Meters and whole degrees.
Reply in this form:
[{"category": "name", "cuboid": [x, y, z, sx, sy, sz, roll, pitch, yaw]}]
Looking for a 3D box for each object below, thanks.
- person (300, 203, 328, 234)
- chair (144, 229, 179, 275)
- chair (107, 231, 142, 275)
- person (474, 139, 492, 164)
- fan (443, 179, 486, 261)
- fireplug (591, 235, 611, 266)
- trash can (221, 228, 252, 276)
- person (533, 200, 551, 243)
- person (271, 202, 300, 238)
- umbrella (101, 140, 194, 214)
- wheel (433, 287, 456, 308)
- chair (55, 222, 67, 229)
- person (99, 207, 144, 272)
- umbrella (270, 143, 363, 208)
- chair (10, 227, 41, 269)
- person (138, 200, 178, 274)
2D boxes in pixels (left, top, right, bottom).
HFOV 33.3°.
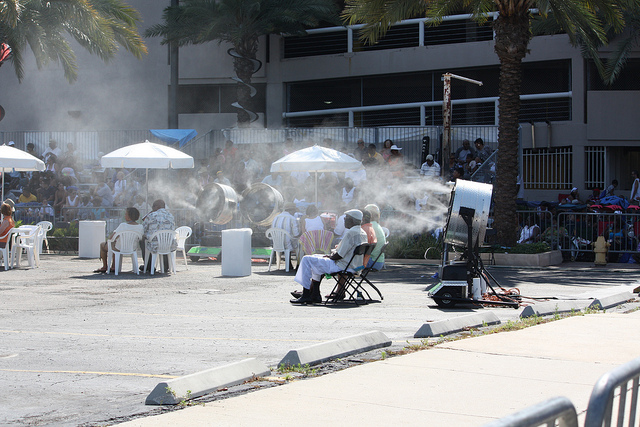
[{"category": "person", "cuboid": [-0.193, 0.157, 30.687, 0.592, 1.115, 0.633, -3, 40, 3]}, {"category": "chair", "cuboid": [-4.409, 0.977, 29.848, 1.029, 1.587, 1.132, -3, 14, -23]}, {"category": "chair", "cuboid": [-5.430, 1.045, 29.947, 0.851, 1.159, 0.857, 1, 2, -10]}, {"category": "person", "cuboid": [5.610, -2.208, 36.701, 0.546, 0.779, 0.949, 2, 13, 8]}, {"category": "fan", "cuboid": [3.425, 0.095, 25.055, 0.875, 1.803, 0.755, 11, 17, 39]}, {"category": "fireplug", "cuboid": [8.421, 1.062, 32.002, 0.430, 0.877, 0.518, -1, 13, -2]}, {"category": "trash can", "cuboid": [-2.204, 1.063, 29.727, 0.764, 1.255, 0.796, 0, 0, -40]}, {"category": "person", "cuboid": [7.119, 0.271, 34.254, 0.561, 1.096, 1.535, 2, 13, 11]}, {"category": "person", "cuboid": [-0.993, 0.200, 31.414, 0.934, 0.968, 0.539, 10, 5, 37]}, {"category": "umbrella", "cuboid": [-5.787, -1.152, 36.232, 2.591, 2.312, 2.746, 2, 1, -17]}, {"category": "wheel", "cuboid": [2.921, 1.924, 24.746, 0.448, 0.464, 0.174, 1, 4, 9]}, {"category": "chair", "cuboid": [-8.798, 0.365, 36.284, 0.531, 0.215, 0.186, 11, 17, 41]}, {"category": "person", "cuboid": [-5.522, 0.717, 29.858, 1.175, 1.864, 0.775, 6, 14, 26]}, {"category": "umbrella", "cuboid": [-0.183, -1.206, 32.598, 2.099, 1.527, 2.206, 4, -4, -25]}, {"category": "chair", "cuboid": [-8.636, 0.868, 31.203, 0.896, 1.251, 0.859, 8, 14, 14]}, {"category": "person", "cuboid": [-4.587, 0.660, 30.041, 1.073, 2.181, 0.855, 12, 18, 43]}]
